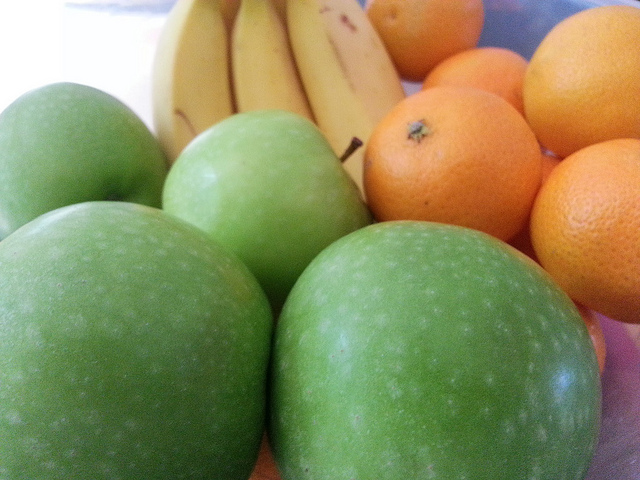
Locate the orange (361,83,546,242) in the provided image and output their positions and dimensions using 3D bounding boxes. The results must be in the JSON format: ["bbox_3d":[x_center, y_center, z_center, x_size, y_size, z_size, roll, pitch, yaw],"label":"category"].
[{"bbox_3d":[0.152,-0.096,0.758,0.123,0.184,0.173,5,40,-33],"label":"orange"}]

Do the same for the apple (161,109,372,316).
[{"bbox_3d":[-0.063,-0.036,0.746,0.154,0.184,0.202,5,64,-8],"label":"apple"}]
